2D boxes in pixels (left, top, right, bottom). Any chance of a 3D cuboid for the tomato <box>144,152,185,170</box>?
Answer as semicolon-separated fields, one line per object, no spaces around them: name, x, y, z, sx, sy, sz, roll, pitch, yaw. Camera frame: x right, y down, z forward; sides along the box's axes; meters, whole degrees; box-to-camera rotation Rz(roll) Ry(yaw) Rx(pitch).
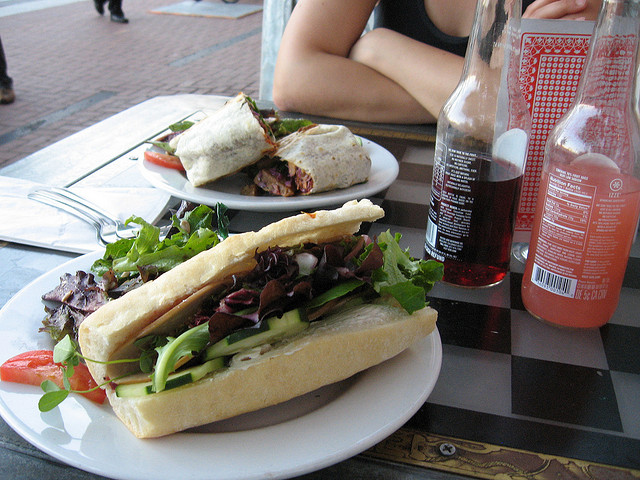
tomato;-0.463;-0.232;1.529;0.108;0.022;0.054;14;15;-15

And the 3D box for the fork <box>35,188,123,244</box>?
fork;-0.614;-0.056;1.299;0.223;0.032;0.035;32;38;16

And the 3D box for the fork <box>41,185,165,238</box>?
fork;-0.554;-0.066;1.303;0.229;0.026;0.040;31;26;14

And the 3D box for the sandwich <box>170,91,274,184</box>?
sandwich;-0.260;-0.264;1.609;0.322;0.119;0.274;-28;65;0

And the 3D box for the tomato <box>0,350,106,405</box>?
tomato;-0.447;0.215;0.840;0.141;0.033;0.083;18;24;-19

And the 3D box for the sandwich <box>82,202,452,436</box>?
sandwich;-0.056;0.166;0.939;0.586;0.224;0.317;-21;39;-20

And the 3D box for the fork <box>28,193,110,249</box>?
fork;-0.628;-0.042;1.277;0.260;0.020;0.050;24;55;23
